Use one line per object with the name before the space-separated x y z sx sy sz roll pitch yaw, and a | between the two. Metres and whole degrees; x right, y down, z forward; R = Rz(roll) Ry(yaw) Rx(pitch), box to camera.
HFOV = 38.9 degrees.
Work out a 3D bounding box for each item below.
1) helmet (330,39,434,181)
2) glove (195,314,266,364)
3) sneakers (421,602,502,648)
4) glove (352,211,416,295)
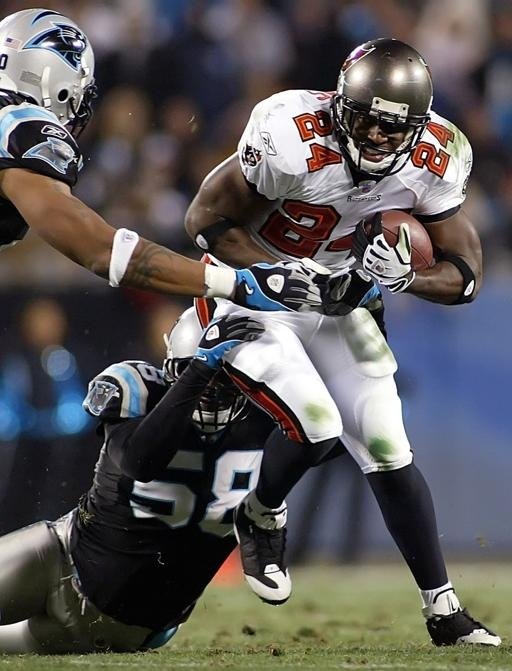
helmet | 0.361 -0.644 2.095 0.264 0.362 0.184 1 22 11
glove | -0.076 0.004 2.023 0.203 0.055 0.097 -31 57 -25
sneakers | 0.562 0.811 2.038 0.232 0.086 0.084 -4 -6 26
glove | 0.378 -0.227 1.978 0.127 0.168 0.231 -33 9 21
